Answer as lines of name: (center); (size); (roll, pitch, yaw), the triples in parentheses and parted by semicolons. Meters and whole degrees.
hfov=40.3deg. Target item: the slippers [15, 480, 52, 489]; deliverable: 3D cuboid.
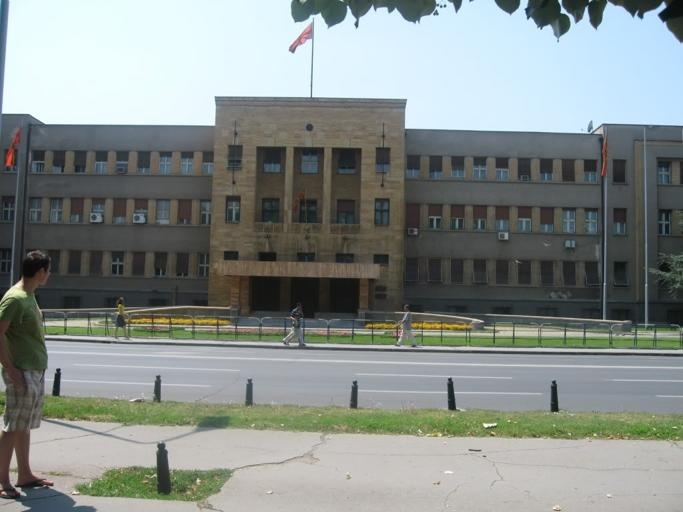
slippers: (-7.196, 5.384, 21.899); (0.733, 0.188, 0.288); (-1, -1, -14)

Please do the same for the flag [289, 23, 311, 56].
flag: (-2.488, -13.664, 57.129); (1.284, 1.771, 2.823); (0, -7, -4)
